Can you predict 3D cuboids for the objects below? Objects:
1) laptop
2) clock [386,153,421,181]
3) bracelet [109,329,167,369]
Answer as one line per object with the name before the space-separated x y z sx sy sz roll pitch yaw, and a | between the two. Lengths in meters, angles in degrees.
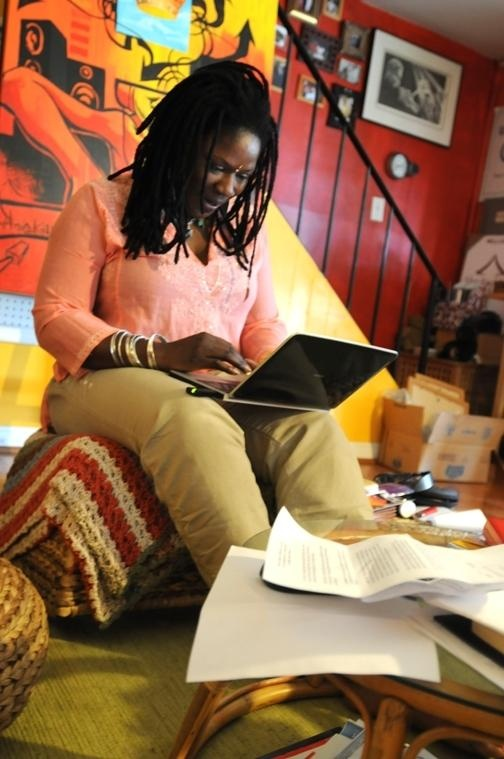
laptop | 0.097 -0.006 1.075 0.238 0.139 0.224 1 23 -45
clock | 1.120 -1.593 4.376 0.286 0.179 0.029 -2 15 -28
bracelet | -0.222 -0.060 1.132 0.043 0.067 0.086 -21 -6 37
